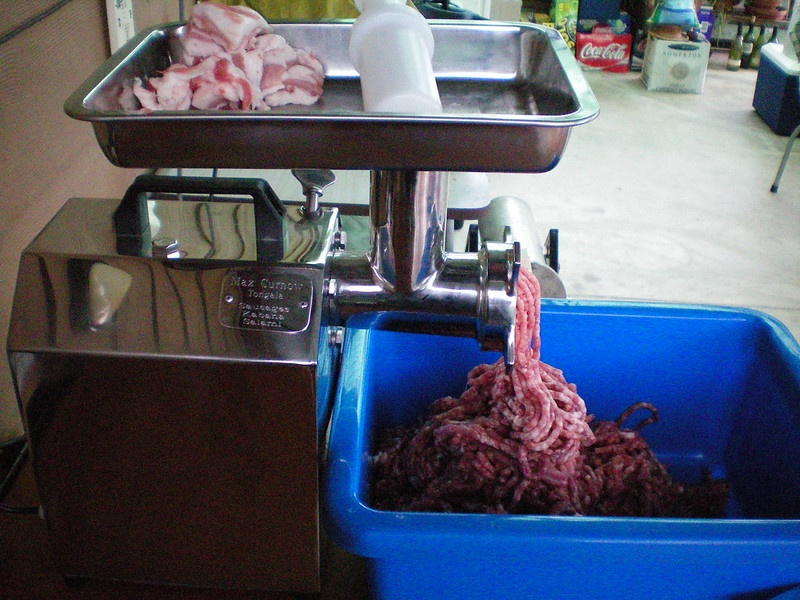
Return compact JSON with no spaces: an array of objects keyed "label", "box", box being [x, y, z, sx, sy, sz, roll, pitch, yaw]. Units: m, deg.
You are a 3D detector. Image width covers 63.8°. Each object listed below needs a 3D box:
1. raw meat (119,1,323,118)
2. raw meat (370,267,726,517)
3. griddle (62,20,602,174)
[{"label":"raw meat","box":[-0.211,-0.289,0.813,0.216,0.085,0.167,2,43,-6]},{"label":"raw meat","box":[0.196,0.155,0.925,0.451,0.160,0.354,1,37,4]},{"label":"griddle","box":[-0.063,-0.249,0.763,0.543,0.112,0.369,0,30,1]}]
